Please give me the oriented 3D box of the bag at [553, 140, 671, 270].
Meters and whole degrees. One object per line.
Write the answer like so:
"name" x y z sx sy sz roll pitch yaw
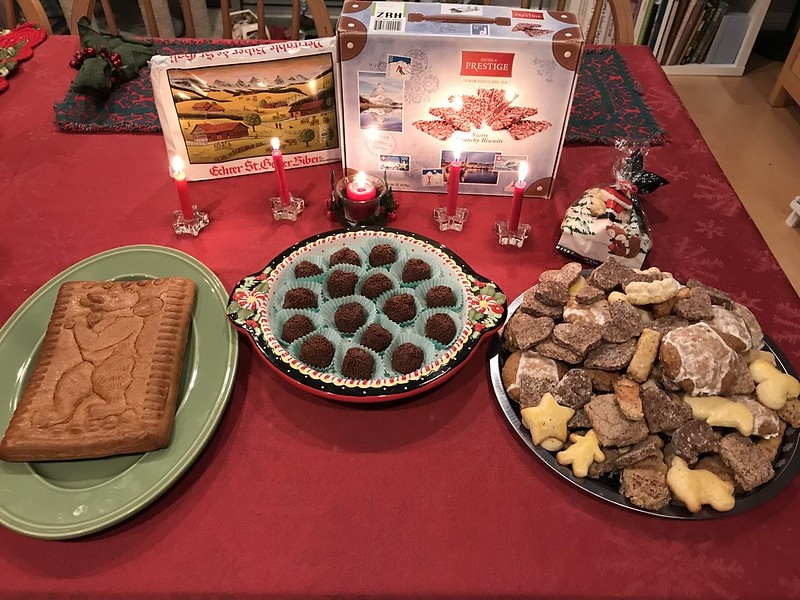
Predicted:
"bag" 0.548 -0.215 1.496 0.234 0.154 0.348 15 71 12

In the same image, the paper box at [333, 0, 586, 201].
"paper box" 0.143 -0.538 1.562 0.621 0.496 0.220 3 43 -1

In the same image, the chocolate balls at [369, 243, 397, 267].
"chocolate balls" -0.047 -0.118 1.494 0.058 0.040 0.059 0 40 0

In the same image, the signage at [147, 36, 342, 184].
"signage" -0.428 -0.525 1.637 0.582 0.432 0.081 -6 43 -3

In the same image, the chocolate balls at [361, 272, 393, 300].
"chocolate balls" -0.065 -0.039 1.446 0.054 0.026 0.075 25 61 20

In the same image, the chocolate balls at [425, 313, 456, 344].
"chocolate balls" 0.098 0.065 1.362 0.068 0.042 0.072 -2 51 2

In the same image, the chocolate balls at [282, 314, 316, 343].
"chocolate balls" -0.246 0.065 1.355 0.065 0.042 0.066 -4 33 2

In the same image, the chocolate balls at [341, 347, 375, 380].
"chocolate balls" -0.096 0.143 1.305 0.068 0.052 0.069 6 37 -4

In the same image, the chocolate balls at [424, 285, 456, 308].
"chocolate balls" 0.101 -0.009 1.417 0.051 0.039 0.067 -3 23 -4

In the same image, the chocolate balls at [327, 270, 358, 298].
"chocolate balls" -0.146 -0.041 1.444 0.079 0.077 0.062 12 3 14

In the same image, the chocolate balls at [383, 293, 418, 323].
"chocolate balls" 0.004 0.020 1.401 0.070 0.040 0.068 2 55 -3

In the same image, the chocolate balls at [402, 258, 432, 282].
"chocolate balls" 0.040 -0.074 1.465 0.060 0.052 0.060 -1 15 0

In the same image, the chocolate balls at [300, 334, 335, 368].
"chocolate balls" -0.193 0.117 1.320 0.072 0.041 0.073 3 61 -6

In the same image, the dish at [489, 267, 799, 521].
"dish" 0.524 0.225 1.256 0.669 0.203 0.433 8 44 11

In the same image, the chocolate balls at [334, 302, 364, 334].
"chocolate balls" -0.129 0.038 1.394 0.069 0.043 0.069 1 46 -2
